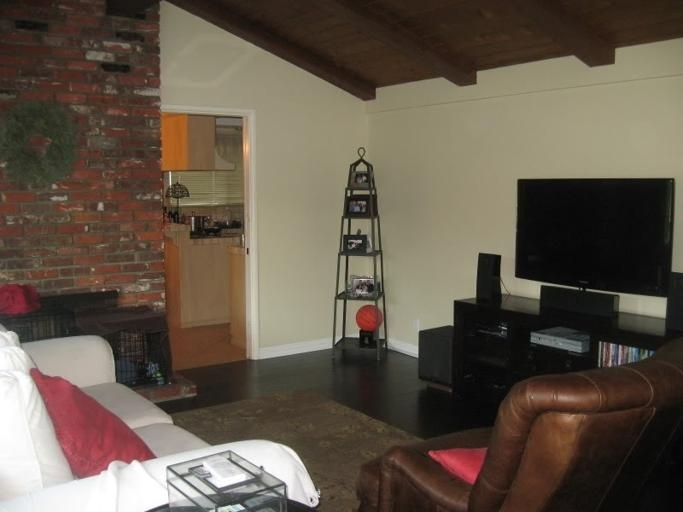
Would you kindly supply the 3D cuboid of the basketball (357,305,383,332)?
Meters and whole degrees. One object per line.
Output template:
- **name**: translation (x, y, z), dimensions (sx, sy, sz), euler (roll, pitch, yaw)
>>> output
- **basketball**: translation (0.281, 0.658, 5.878), dimensions (0.264, 0.297, 0.283), euler (0, -3, 28)

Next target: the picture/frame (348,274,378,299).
- **picture/frame**: translation (0.215, 0.337, 5.891), dimensions (0.381, 0.365, 0.209), euler (2, 5, 13)

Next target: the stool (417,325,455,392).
- **stool**: translation (0.846, 0.894, 4.922), dimensions (0.445, 0.467, 0.448), euler (-4, 10, -26)

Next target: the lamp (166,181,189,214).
- **lamp**: translation (-2.714, -0.952, 8.924), dimensions (0.309, 0.480, 0.952), euler (-3, 8, -18)

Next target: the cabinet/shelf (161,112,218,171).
- **cabinet/shelf**: translation (-2.189, -1.636, 7.788), dimensions (0.573, 1.128, 1.193), euler (-6, 10, -39)

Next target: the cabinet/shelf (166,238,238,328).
- **cabinet/shelf**: translation (-1.794, 0.332, 6.939), dimensions (1.016, 1.446, 0.783), euler (-2, 8, -20)

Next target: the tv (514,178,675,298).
- **tv**: translation (1.931, -0.142, 4.064), dimensions (0.102, 0.692, 0.925), euler (-3, 6, -44)
